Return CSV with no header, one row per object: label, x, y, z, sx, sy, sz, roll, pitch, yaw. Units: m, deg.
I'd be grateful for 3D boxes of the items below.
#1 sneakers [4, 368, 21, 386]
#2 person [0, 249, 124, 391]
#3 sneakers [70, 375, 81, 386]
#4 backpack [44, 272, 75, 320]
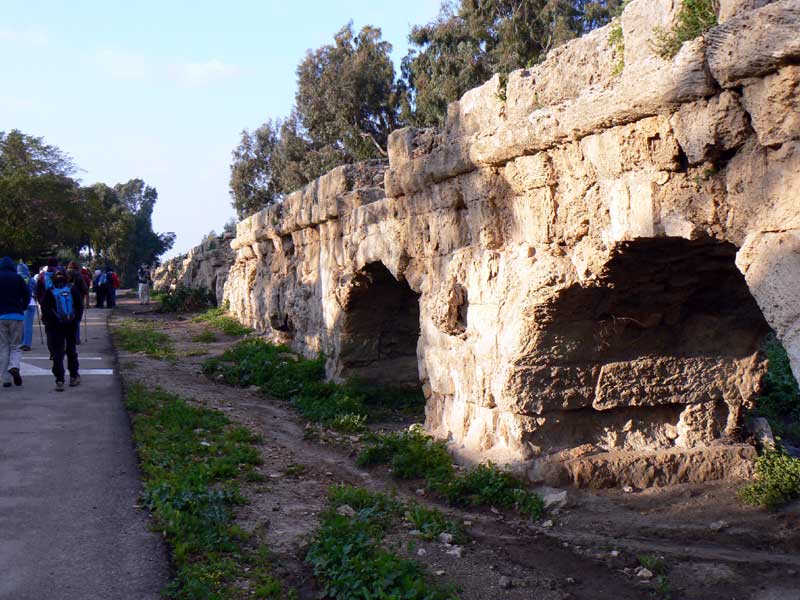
sneakers,-5.552,1.124,11.915,0.155,0.193,0.451,-9,-33,-10
person,-5.165,0.335,12.026,1.252,1.939,1.027,5,12,4
sneakers,-4.811,1.214,12.330,0.077,0.063,0.180,4,25,-3
backpack,-4.711,-0.065,11.575,0.355,0.680,0.355,-1,13,-23
